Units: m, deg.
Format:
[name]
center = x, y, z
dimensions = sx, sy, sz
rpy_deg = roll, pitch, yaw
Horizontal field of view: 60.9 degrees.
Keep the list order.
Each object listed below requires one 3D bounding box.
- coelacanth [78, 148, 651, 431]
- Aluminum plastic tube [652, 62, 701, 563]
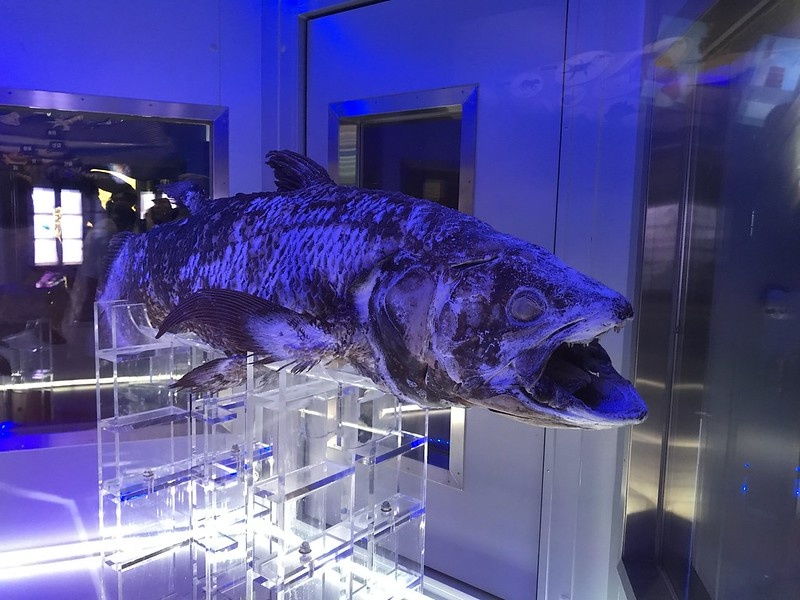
[coelacanth]
center = -0.300, -0.034, 2.362
dimensions = 2.174, 0.738, 0.690
rpy_deg = 11, 9, 27
[Aluminum plastic tube]
center = 1.053, 0.117, 2.595
dimensions = 0.035, 1.808, 0.086
rpy_deg = 0, 6, -16
